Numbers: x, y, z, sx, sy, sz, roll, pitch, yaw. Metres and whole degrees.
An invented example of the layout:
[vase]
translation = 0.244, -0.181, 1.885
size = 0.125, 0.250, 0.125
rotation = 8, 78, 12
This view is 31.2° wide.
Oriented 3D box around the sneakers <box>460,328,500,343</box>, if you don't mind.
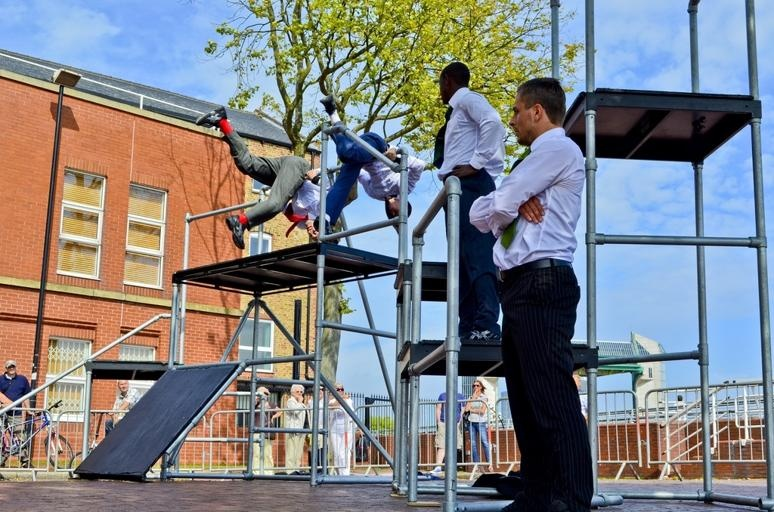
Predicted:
[sneakers]
translation = 1.517, 1.349, 22.542
size = 0.637, 0.259, 0.230
rotation = 6, -2, -13
